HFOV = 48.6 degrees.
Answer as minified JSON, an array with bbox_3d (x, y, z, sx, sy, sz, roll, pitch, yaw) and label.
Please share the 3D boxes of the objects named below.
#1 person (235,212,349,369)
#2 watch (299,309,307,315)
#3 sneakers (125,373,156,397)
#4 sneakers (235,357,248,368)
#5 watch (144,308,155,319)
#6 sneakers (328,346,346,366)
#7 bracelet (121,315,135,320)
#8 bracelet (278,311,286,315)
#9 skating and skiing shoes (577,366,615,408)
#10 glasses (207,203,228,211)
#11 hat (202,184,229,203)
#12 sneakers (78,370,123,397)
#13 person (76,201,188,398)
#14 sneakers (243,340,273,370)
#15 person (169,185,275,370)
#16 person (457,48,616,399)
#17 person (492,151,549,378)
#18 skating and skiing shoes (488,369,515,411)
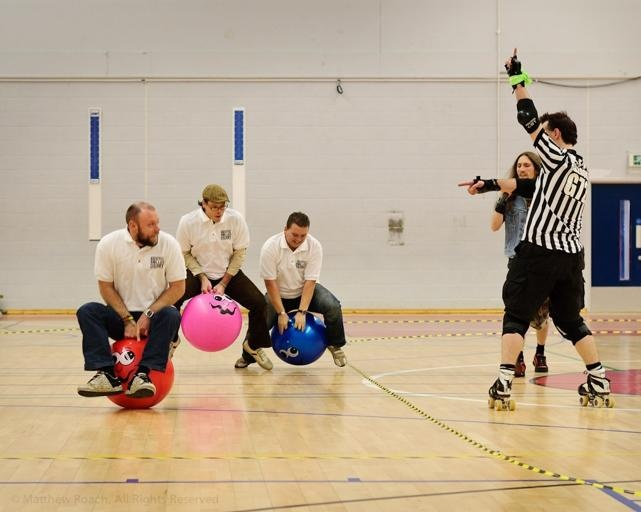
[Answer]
[{"bbox_3d":[-0.254,0.263,5.763,0.842,1.131,0.678,-1,8,-13],"label":"person"},{"bbox_3d":[-0.130,0.434,5.570,0.038,0.025,0.036,-2,3,-32],"label":"watch"},{"bbox_3d":[-1.065,0.766,4.206,0.165,0.169,0.150,0,1,-18],"label":"sneakers"},{"bbox_3d":[-0.656,0.889,5.950,0.064,0.081,0.117,0,-6,2],"label":"sneakers"},{"bbox_3d":[-1.055,0.351,4.348,0.042,0.066,0.059,-20,16,-41],"label":"watch"},{"bbox_3d":[0.159,0.827,5.924,0.083,0.230,0.089,-19,-9,-27],"label":"sneakers"},{"bbox_3d":[-1.168,0.375,4.345,0.050,0.032,0.055,-1,2,-38],"label":"bracelet"},{"bbox_3d":[-0.294,0.442,5.547,0.051,0.020,0.041,0,1,-10],"label":"bracelet"},{"bbox_3d":[1.767,0.846,4.616,0.120,0.257,0.335,3,-7,-8],"label":"skating and skiing shoes"},{"bbox_3d":[-0.781,-0.392,5.562,0.113,0.061,0.210,1,1,30],"label":"glasses"},{"bbox_3d":[-0.825,-0.494,5.614,0.176,0.153,0.308,0,1,-7],"label":"hat"},{"bbox_3d":[-1.258,0.745,4.113,0.302,0.156,0.113,3,-9,-17],"label":"sneakers"},{"bbox_3d":[-1.142,0.251,4.340,0.631,1.165,0.497,0,1,-13],"label":"person"},{"bbox_3d":[-0.517,0.801,5.777,0.110,0.260,0.095,-36,19,31],"label":"sneakers"},{"bbox_3d":[-0.800,0.173,5.511,0.874,1.350,0.990,8,13,25],"label":"person"},{"bbox_3d":[1.441,-0.147,4.476,0.788,2.189,0.279,0,1,-14],"label":"person"},{"bbox_3d":[1.646,-0.044,5.537,0.598,1.881,0.578,1,9,23],"label":"person"},{"bbox_3d":[1.148,0.851,4.487,0.095,0.223,0.233,5,-8,-7],"label":"skating and skiing shoes"}]
